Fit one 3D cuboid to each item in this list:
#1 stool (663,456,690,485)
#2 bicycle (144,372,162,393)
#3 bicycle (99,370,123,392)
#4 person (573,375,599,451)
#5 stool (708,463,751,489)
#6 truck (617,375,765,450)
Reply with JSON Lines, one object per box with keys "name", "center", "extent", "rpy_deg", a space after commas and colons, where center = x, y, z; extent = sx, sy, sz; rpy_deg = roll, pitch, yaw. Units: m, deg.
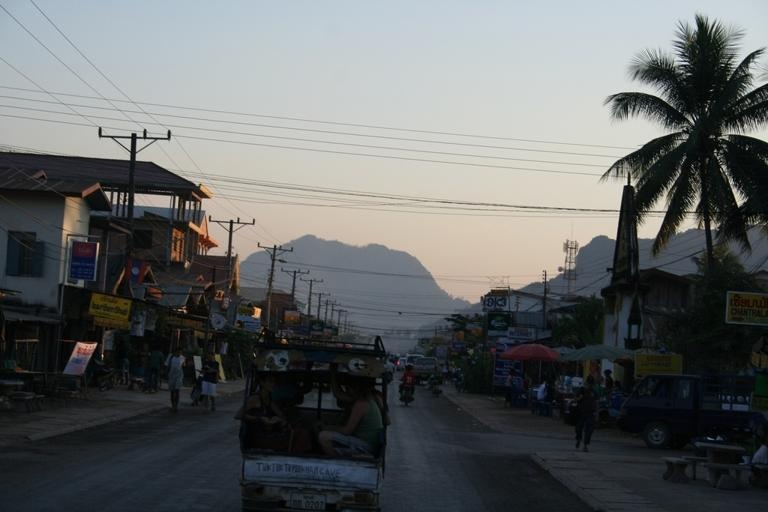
{"name": "stool", "center": [8.267, 6.095, 22.362], "extent": [0.716, 0.660, 0.658], "rpy_deg": [-2, -13, 18]}
{"name": "bicycle", "center": [-11.682, 6.416, 39.721], "extent": [0.662, 1.035, 1.368], "rpy_deg": [5, -12, -17]}
{"name": "bicycle", "center": [-13.773, 6.311, 39.628], "extent": [0.786, 1.060, 3.404], "rpy_deg": [5, -12, -13]}
{"name": "person", "center": [7.104, 5.573, 27.755], "extent": [0.757, 2.585, 1.576], "rpy_deg": [-1, -12, 14]}
{"name": "stool", "center": [9.522, 6.158, 21.936], "extent": [1.228, 0.580, 0.812], "rpy_deg": [3, -8, -15]}
{"name": "truck", "center": [10.800, 5.421, 28.034], "extent": [4.236, 1.744, 2.050], "rpy_deg": [1, -4, 16]}
